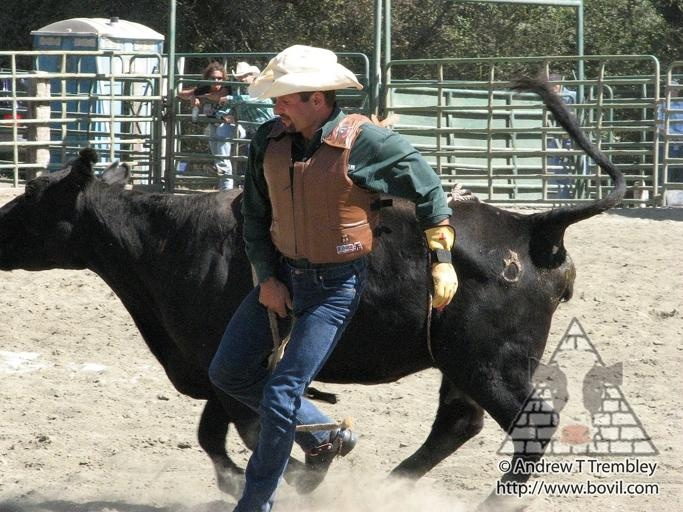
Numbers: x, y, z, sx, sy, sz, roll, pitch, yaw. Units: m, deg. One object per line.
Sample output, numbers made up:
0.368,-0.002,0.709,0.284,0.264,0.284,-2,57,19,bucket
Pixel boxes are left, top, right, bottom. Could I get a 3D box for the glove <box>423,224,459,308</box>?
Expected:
0.757,0.077,9.765,0.250,0.651,0.239,5,7,27,glove
